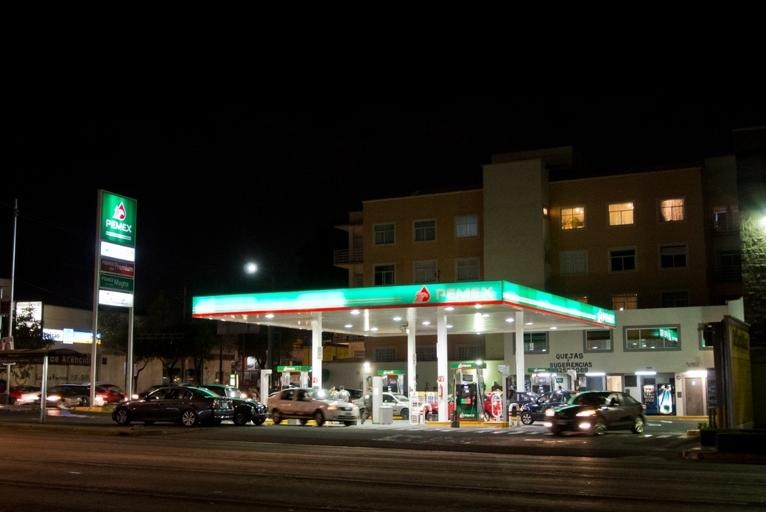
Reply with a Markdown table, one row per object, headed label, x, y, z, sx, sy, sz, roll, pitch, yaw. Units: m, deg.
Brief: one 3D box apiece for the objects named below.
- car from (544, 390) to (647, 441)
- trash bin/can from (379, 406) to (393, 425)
| label | x | y | z | sx | sy | sz | roll | pitch | yaw |
| --- | --- | --- | --- | --- | --- | --- | --- | --- | --- |
| car | 9.307 | 6.827 | 33.396 | 4.151 | 1.431 | 1.887 | 13 | -19 | -39 |
| trash bin/can | 0.181 | 8.070 | 39.554 | 0.678 | 0.965 | 0.912 | -1 | -5 | 1 |
